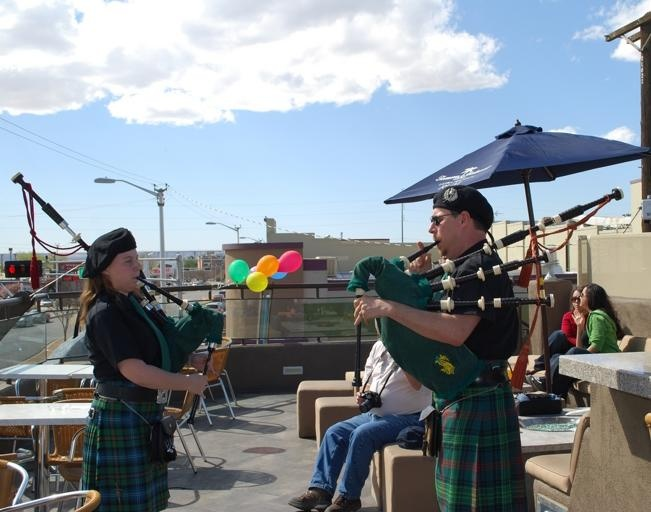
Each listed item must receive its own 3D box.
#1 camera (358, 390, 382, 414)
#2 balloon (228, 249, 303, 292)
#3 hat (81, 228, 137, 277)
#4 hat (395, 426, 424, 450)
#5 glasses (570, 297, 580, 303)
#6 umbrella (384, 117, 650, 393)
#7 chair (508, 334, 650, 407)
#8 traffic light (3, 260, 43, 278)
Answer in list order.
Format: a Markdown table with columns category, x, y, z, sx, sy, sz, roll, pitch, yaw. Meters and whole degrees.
| category | x | y | z | sx | sy | sz | roll | pitch | yaw |
| --- | --- | --- | --- | --- | --- | --- | --- | --- | --- |
| camera | 0.316 | 1.019 | 4.715 | 0.118 | 0.133 | 0.176 | 28 | -36 | -20 |
| balloon | -0.727 | 0.159 | 8.115 | 0.658 | 0.251 | 0.668 | -18 | -1 | 41 |
| hat | -1.061 | -0.004 | 3.283 | 0.211 | 0.107 | 0.160 | -27 | 6 | 22 |
| hat | 0.567 | 1.192 | 4.378 | 0.259 | 0.108 | 0.305 | 0 | -1 | 0 |
| glasses | 2.656 | 0.460 | 7.041 | 0.054 | 0.069 | 0.069 | -5 | -13 | 20 |
| umbrella | 1.331 | -0.187 | 4.499 | 1.309 | 0.567 | 1.261 | -14 | -2 | -23 |
| chair | 2.569 | 1.071 | 6.539 | 1.182 | 0.950 | 1.170 | 2 | -4 | 1 |
| traffic light | -4.847 | 0.191 | 10.398 | 0.351 | 0.323 | 0.430 | -14 | 2 | -26 |
